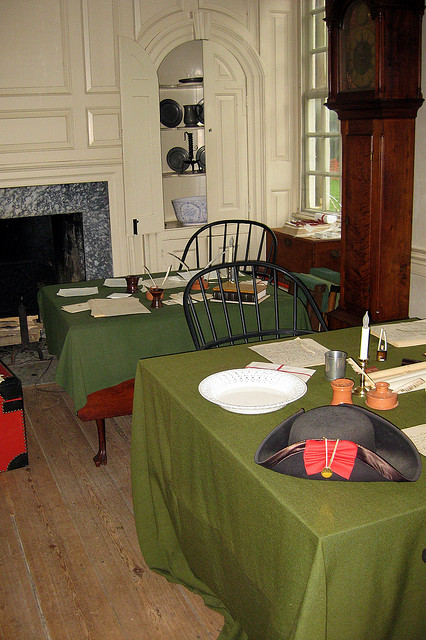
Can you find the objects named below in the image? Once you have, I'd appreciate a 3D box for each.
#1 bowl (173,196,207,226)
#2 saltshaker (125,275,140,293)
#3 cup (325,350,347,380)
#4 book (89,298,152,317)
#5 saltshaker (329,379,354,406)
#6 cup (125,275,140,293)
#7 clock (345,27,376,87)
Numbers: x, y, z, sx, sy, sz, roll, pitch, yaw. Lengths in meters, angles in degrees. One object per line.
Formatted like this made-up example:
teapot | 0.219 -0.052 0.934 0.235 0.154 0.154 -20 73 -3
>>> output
bowl | -0.227 -1.130 4.771 0.290 0.191 0.297 -1 18 0
saltshaker | -0.493 -0.215 2.789 0.089 0.103 0.096 0 11 -14
cup | 0.328 0.118 1.300 0.072 0.079 0.070 2 28 -1
book | -0.506 -0.070 2.445 0.297 0.054 0.280 -6 13 -17
saltshaker | 0.292 0.167 1.044 0.046 0.049 0.046 -10 22 -22
cup | -0.482 -0.217 2.790 0.089 0.104 0.096 3 12 -1
clock | 0.800 -1.399 2.465 0.012 0.326 0.324 -16 25 -17
